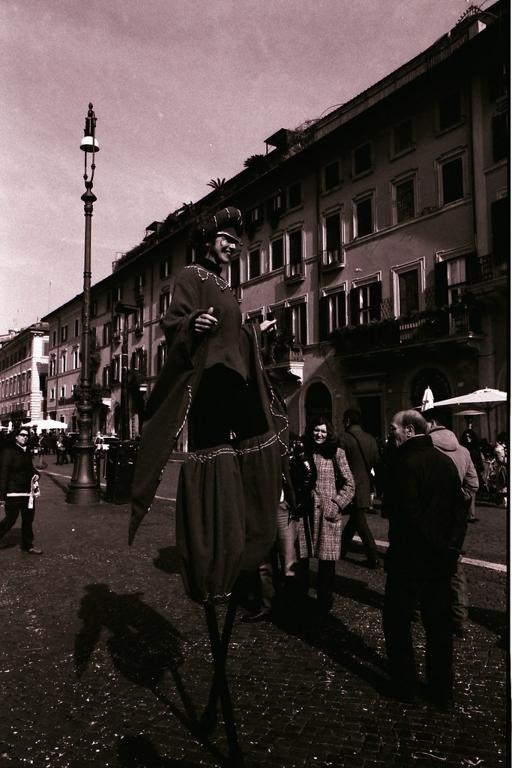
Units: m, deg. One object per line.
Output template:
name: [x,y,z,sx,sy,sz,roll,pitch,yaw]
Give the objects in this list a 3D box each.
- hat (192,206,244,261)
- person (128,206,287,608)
hat: [-0.177,-0.682,3.588,0.221,0.114,0.187,-35,-37,18]
person: [-0.207,0.018,3.229,0.756,1.518,0.556,-1,0,-41]
